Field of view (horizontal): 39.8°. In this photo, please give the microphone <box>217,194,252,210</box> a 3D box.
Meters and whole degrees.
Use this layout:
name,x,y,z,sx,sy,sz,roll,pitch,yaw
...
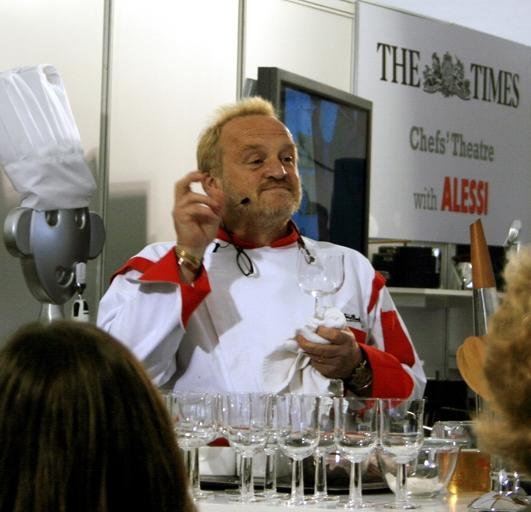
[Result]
name,x,y,z,sx,sy,sz,roll,pitch,yaw
microphone,-0.099,-0.155,2.152,0.117,0.046,0.034,7,-14,36

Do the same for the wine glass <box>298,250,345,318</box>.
name,x,y,z,sx,sy,sz,roll,pitch,yaw
wine glass,0.123,0.088,1.721,0.092,0.267,0.104,1,25,2

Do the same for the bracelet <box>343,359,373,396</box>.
name,x,y,z,sx,sy,sz,roll,pitch,yaw
bracelet,0.240,0.320,1.915,0.074,0.112,0.127,0,1,6

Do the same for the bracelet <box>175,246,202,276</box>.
name,x,y,z,sx,sy,sz,roll,pitch,yaw
bracelet,-0.211,0.012,1.954,0.074,0.031,0.055,41,-12,-5
